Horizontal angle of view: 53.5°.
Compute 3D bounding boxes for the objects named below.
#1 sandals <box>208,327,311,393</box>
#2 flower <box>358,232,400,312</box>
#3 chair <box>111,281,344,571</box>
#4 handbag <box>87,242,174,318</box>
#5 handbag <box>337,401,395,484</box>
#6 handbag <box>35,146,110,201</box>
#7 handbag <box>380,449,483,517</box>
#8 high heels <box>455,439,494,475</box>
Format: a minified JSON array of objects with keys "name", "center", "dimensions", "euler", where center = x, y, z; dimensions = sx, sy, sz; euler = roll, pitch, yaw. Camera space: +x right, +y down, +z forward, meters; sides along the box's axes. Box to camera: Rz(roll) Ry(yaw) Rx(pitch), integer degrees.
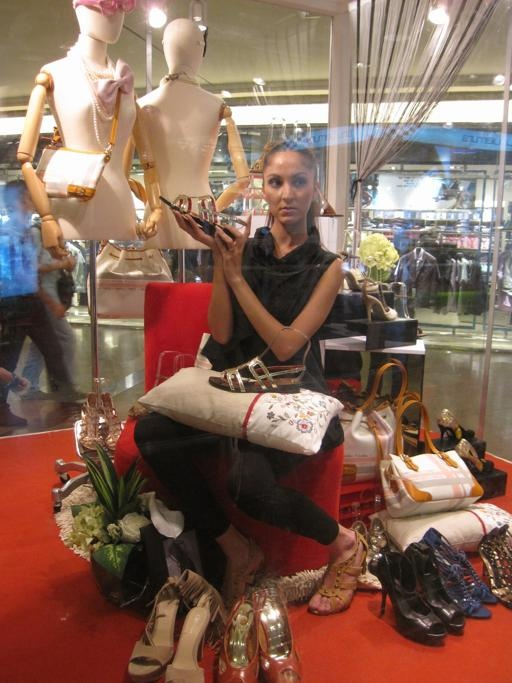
[{"name":"sandals","center":[0.010,0.065,1.155],"dimensions":[0.235,0.118,0.082],"euler":[1,5,-9]},{"name":"flower","center":[0.310,-0.205,1.321],"dimensions":[0.089,0.051,0.193],"euler":[2,-36,8]},{"name":"chair","center":[-0.117,0.191,1.558],"dimensions":[0.736,0.949,0.731],"euler":[0,2,-9]},{"name":"handbag","center":[-0.382,-0.195,1.530],"dimensions":[0.240,0.101,0.242],"euler":[3,-38,-16]},{"name":"handbag","center":[0.317,0.295,1.522],"dimensions":[0.220,0.220,0.121],"euler":[2,1,-25]},{"name":"handbag","center":[-0.424,-0.382,1.161],"dimensions":[0.161,0.133,0.068],"euler":[12,1,12]},{"name":"handbag","center":[0.502,0.415,1.490],"dimensions":[0.327,0.175,0.155],"euler":[3,-21,-25]},{"name":"high heels","center":[0.756,0.404,1.775],"dimensions":[0.179,0.068,0.059],"euler":[33,-8,-11]}]
